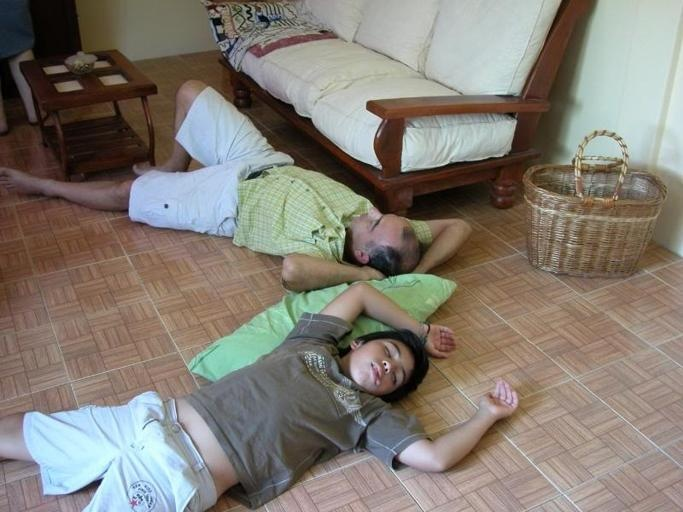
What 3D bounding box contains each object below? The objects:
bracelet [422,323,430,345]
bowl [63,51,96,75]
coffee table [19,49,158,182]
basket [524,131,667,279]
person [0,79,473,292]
[{"bbox_3d":[0.304,0.277,1.758,0.026,0.057,0.047,5,-3,12],"label":"bracelet"},{"bbox_3d":[-1.372,-1.039,2.707,0.176,0.062,0.165,-2,40,2],"label":"bowl"},{"bbox_3d":[-1.386,-0.761,2.761,0.570,0.471,0.656,-20,44,-32],"label":"coffee table"},{"bbox_3d":[1.072,-0.256,2.140,0.603,0.595,0.448,5,41,4],"label":"basket"},{"bbox_3d":[-0.394,-0.336,2.208,1.705,0.568,0.792,22,43,24],"label":"person"}]
